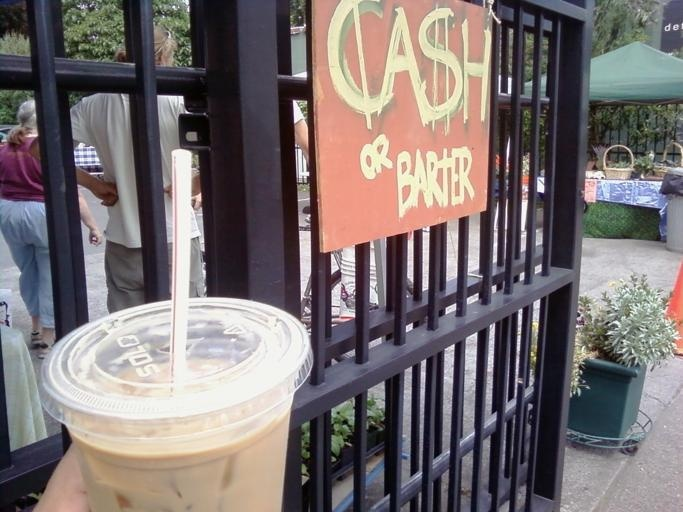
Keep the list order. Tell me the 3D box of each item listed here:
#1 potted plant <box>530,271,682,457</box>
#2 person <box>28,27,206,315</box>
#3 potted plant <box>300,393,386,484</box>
[{"bbox_3d":[1.708,0.694,3.934,0.889,0.988,0.513,-11,18,-37],"label":"potted plant"},{"bbox_3d":[-1.133,-0.483,3.605,0.702,1.713,0.924,3,15,9],"label":"person"},{"bbox_3d":[0.013,0.873,3.117,0.444,0.195,0.463,6,8,36],"label":"potted plant"}]
